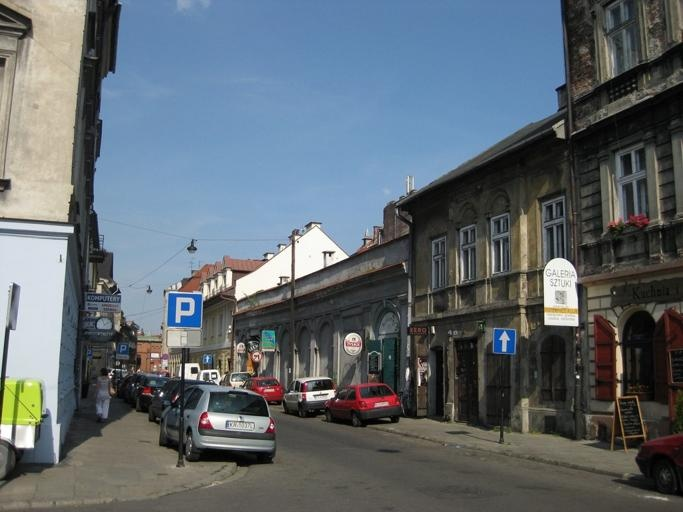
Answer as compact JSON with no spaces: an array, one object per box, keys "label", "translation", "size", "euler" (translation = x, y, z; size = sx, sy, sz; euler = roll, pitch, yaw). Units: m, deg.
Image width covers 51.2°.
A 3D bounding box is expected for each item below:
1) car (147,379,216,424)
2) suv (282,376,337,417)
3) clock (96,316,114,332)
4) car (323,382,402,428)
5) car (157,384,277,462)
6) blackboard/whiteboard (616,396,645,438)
[{"label":"car","translation":[-6.331,5.472,26.886],"size":[1.529,1.582,2.981],"euler":[3,-5,-22]},{"label":"suv","translation":[-1.597,6.474,32.980],"size":[1.345,1.288,2.387],"euler":[2,-5,-23]},{"label":"clock","translation":[-9.780,2.825,29.402],"size":[0.604,0.706,0.146],"euler":[15,-1,16]},{"label":"car","translation":[0.706,5.796,28.137],"size":[1.478,1.183,2.552],"euler":[3,-6,-29]},{"label":"car","translation":[-2.915,4.197,18.051],"size":[2.387,1.920,1.216],"euler":[-1,-15,9]},{"label":"blackboard/whiteboard","translation":[7.701,4.331,19.168],"size":[1.147,1.116,0.351],"euler":[13,-18,-34]}]
